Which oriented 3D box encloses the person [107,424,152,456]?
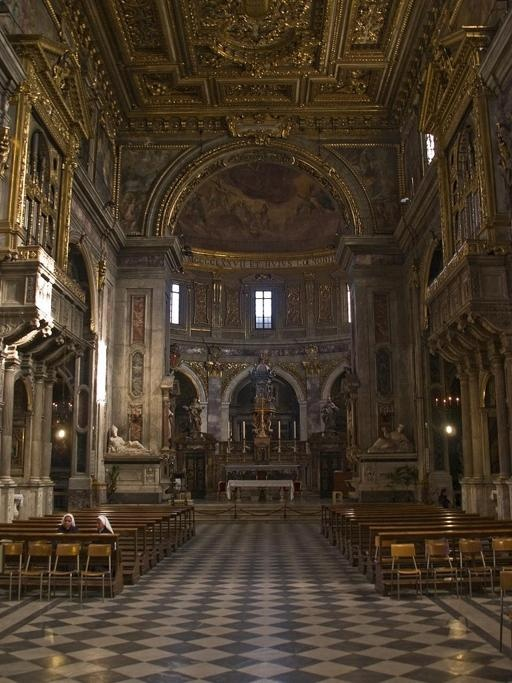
[{"bbox_3d":[-4.092,3.246,20.934,1.280,0.732,0.814,1,-6,-5],"label":"person"}]
